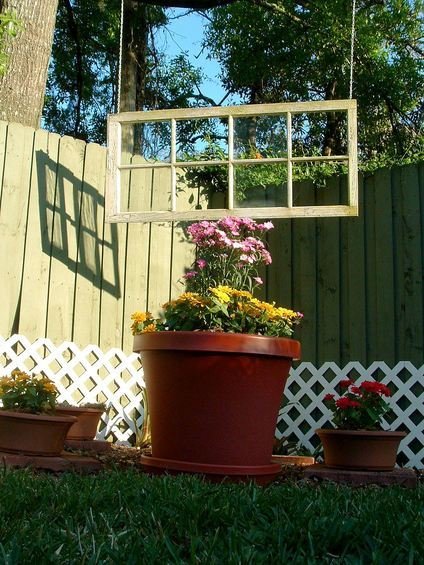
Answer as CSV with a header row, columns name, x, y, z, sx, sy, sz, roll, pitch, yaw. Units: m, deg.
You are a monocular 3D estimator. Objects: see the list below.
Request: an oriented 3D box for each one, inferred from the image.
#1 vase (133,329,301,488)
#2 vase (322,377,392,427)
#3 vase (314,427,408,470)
name,x,y,z,sx,sy,sz,roll,pitch,yaw
vase,0.002,0.464,2.636,0.664,0.517,0.665,3,-9,2
vase,0.637,0.531,3.032,0.238,0.203,0.206,1,-5,-11
vase,0.607,0.690,2.891,0.356,0.172,0.201,-1,-5,13
